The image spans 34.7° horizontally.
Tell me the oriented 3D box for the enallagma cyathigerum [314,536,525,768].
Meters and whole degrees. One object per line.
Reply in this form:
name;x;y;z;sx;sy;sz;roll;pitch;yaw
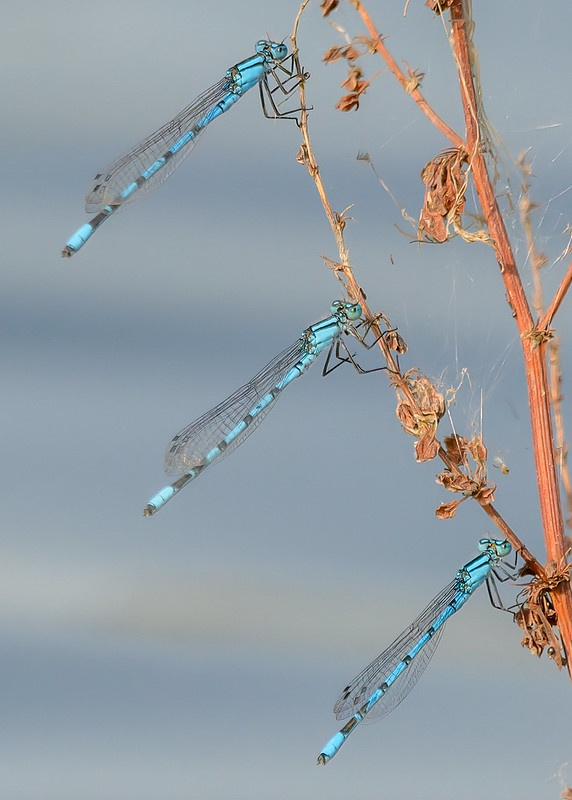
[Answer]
enallagma cyathigerum;0.394;0.733;2.581;0.301;0.500;0.614;22;-41;-14

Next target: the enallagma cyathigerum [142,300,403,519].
enallagma cyathigerum;-0.086;-0.020;2.938;1.108;0.339;0.343;-39;-66;21
